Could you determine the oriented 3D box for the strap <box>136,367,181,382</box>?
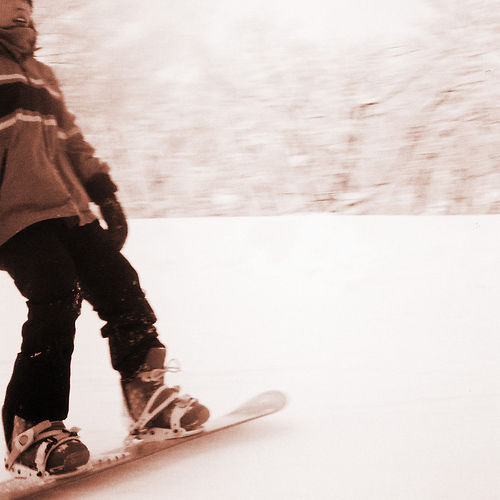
[{"bbox_3d":[-0.264,0.365,1.976,0.132,0.029,0.022,-3,-6,-35],"label":"strap"}]

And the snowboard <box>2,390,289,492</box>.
[{"bbox_3d":[-0.286,0.546,1.905,1.143,0.037,0.131,-10,27,-11],"label":"snowboard"}]

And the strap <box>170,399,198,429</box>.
[{"bbox_3d":[-0.187,0.472,1.932,0.037,0.066,0.059,20,-19,-10],"label":"strap"}]

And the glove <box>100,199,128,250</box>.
[{"bbox_3d":[-0.402,-0.083,2.038,0.106,0.129,0.043,-12,2,-38],"label":"glove"}]

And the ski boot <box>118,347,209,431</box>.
[{"bbox_3d":[-0.228,0.413,1.956,0.358,0.248,0.133,-18,-19,41],"label":"ski boot"}]
